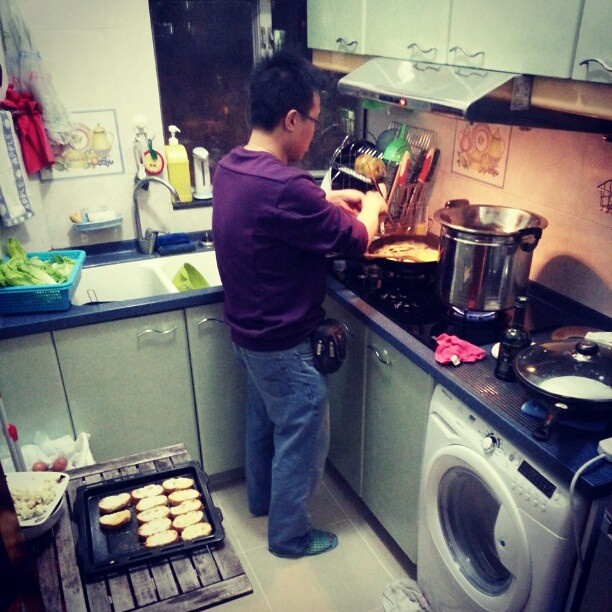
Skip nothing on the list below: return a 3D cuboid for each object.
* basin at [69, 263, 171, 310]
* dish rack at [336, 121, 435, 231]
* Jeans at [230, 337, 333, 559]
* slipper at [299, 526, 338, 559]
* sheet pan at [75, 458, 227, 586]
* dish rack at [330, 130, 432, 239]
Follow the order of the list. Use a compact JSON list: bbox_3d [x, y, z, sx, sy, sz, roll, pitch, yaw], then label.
[{"bbox_3d":[-0.874,-0.104,2.470,0.320,0.149,0.249,-10,42,-15],"label":"basin"},{"bbox_3d":[0.330,-0.507,2.138,0.268,0.452,0.435,-9,27,-23],"label":"dish rack"},{"bbox_3d":[-0.095,0.536,2.019,0.261,0.971,0.378,-18,33,-27],"label":"Jeans"},{"bbox_3d":[0.056,0.939,2.136,0.172,0.093,0.068,-14,20,-26],"label":"slipper"},{"bbox_3d":[-0.410,0.532,1.378,0.370,0.058,0.424,3,18,-11],"label":"sheet pan"},{"bbox_3d":[0.330,-0.610,2.181,0.408,0.486,0.349,7,29,23],"label":"dish rack"}]
